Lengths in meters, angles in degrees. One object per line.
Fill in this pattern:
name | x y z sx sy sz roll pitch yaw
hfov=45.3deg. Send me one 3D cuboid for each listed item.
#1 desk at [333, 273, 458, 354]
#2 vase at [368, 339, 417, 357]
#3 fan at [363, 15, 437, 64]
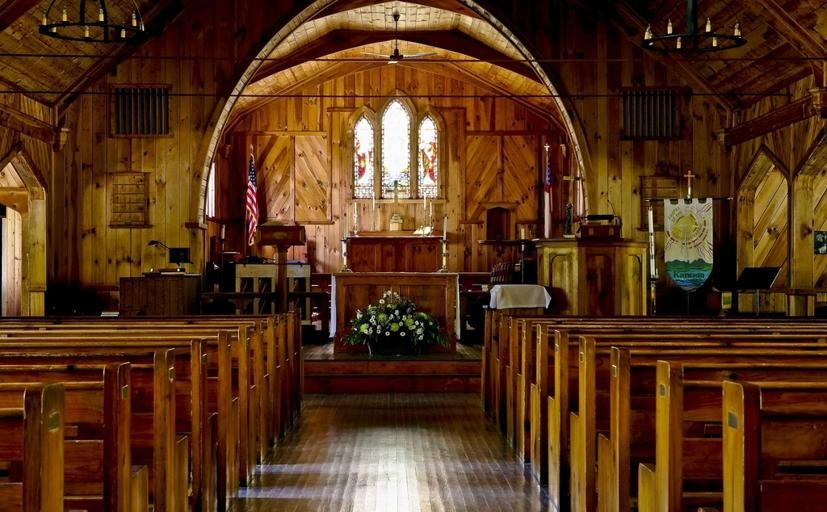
desk | -0.300 0.561 15.057 1.990 1.291 1.087 0 -1 0
vase | -0.332 1.288 13.923 0.469 0.163 0.305 -1 -12 -1
fan | -0.289 -3.979 18.073 1.085 0.802 0.886 -1 11 -9
